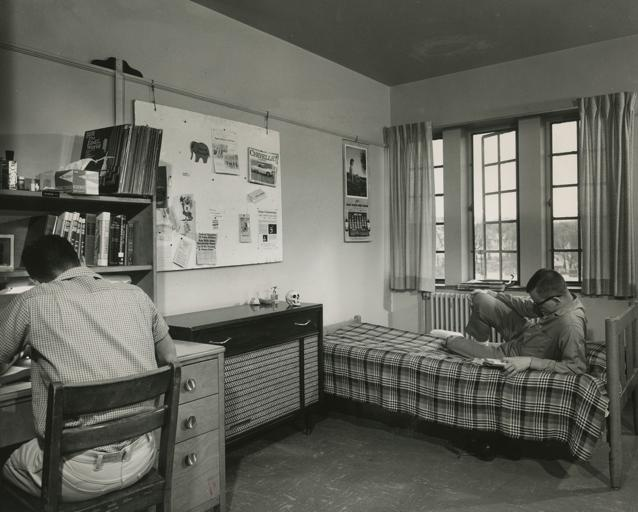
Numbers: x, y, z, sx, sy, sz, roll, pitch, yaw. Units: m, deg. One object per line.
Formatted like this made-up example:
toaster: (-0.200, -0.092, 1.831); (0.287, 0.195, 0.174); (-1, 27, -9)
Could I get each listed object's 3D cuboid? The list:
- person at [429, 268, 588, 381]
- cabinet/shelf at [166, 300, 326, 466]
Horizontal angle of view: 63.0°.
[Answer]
person: (1.346, 0.460, 3.640); (1.000, 0.736, 0.713); (14, 22, 38)
cabinet/shelf: (-0.541, 0.508, 3.692); (0.684, 1.171, 1.325); (0, 3, 33)
